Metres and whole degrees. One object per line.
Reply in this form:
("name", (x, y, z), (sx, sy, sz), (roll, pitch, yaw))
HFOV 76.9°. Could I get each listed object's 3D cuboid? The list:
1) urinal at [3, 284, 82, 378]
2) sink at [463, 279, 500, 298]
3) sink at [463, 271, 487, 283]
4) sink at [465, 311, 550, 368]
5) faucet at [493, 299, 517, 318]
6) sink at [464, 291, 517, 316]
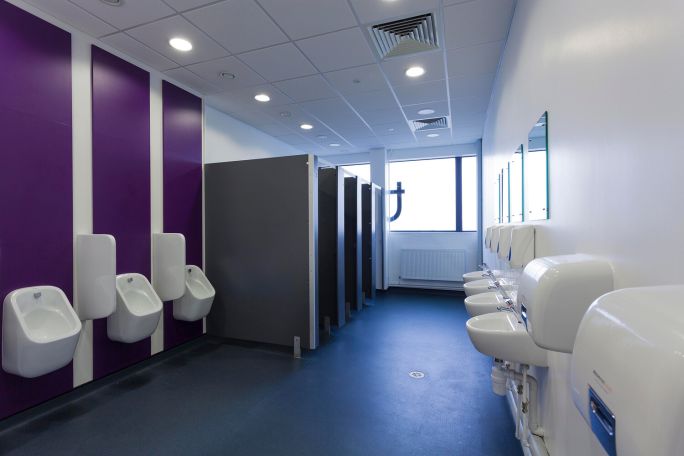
("urinal", (-2.423, 0.879, 3.452), (0.524, 0.764, 0.428), (-11, 16, -42))
("sink", (1.314, 0.558, 4.108), (0.235, 0.095, 0.184), (-5, 3, 21))
("sink", (1.433, 0.539, 4.623), (0.219, 0.085, 0.191), (-3, 2, 10))
("sink", (1.064, 0.705, 2.998), (0.453, 0.367, 0.548), (4, 3, 5))
("faucet", (1.199, 0.581, 3.151), (0.065, 0.117, 0.320), (-4, -13, 16))
("sink", (1.214, 0.616, 3.527), (0.337, 0.135, 0.264), (-10, 0, 19))
